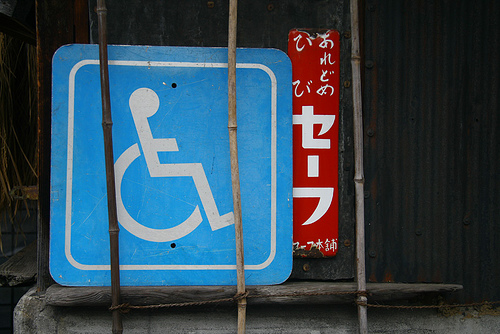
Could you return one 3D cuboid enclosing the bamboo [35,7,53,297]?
[{"bbox_3d":[-1.601,-0.127,7.965,0.124,2.198,0.546,0,14,-18],"label":"bamboo"}]
